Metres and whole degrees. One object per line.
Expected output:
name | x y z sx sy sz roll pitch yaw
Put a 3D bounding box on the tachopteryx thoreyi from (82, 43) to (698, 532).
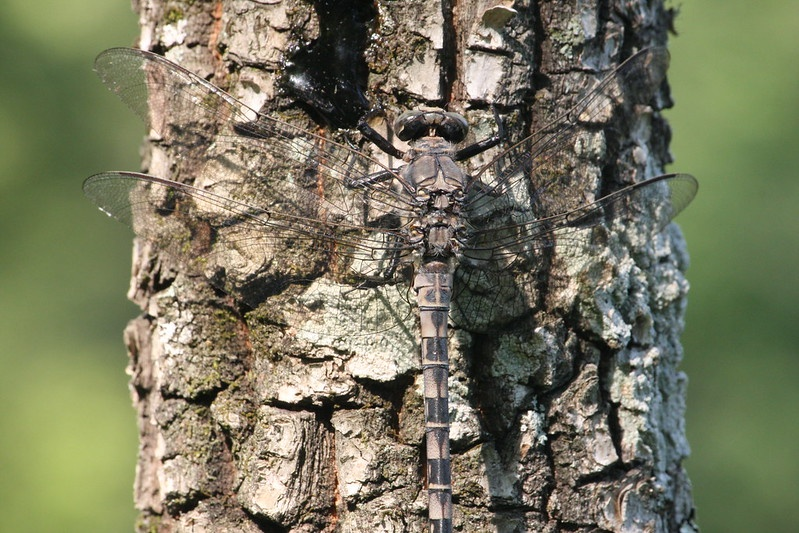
tachopteryx thoreyi | -0.065 -0.141 6.215 2.240 0.565 1.388 0 -79 -1
